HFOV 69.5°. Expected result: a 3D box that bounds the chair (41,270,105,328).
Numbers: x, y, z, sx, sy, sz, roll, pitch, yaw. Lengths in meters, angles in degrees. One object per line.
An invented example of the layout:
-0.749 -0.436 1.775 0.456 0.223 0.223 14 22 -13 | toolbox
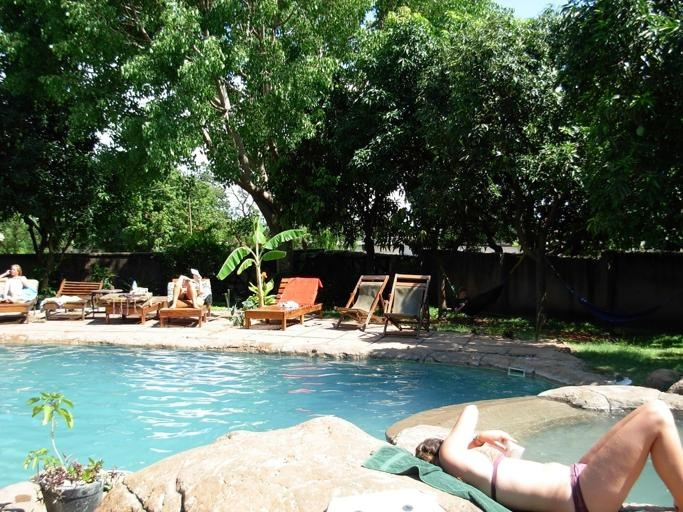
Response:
-8.449 1.312 15.494 1.235 1.079 1.886 0 2 2 | chair

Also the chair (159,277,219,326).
-4.415 1.251 13.848 1.262 1.426 1.873 -2 5 -10 | chair

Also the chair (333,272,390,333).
0.600 1.261 13.516 1.337 1.445 2.361 -1 5 4 | chair

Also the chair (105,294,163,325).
-5.962 1.482 14.664 0.982 0.492 1.749 1 4 4 | chair

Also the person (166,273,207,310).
-4.501 1.058 14.285 0.451 0.718 1.202 -9 27 2 | person
